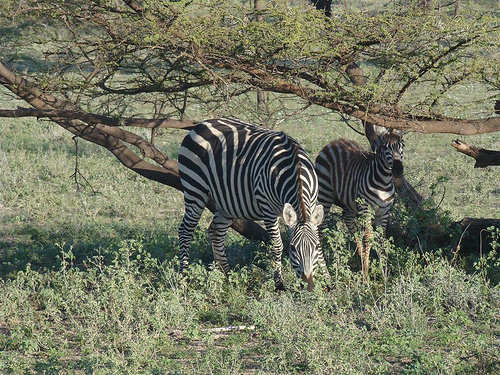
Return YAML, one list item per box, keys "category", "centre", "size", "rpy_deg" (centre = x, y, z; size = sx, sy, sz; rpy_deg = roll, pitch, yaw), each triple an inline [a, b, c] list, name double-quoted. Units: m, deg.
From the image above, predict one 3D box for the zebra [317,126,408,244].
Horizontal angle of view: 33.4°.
- category: "zebra"
  centre: [2.111, -0.008, 15.136]
  size: [0.930, 2.358, 2.907]
  rpy_deg: [-6, 9, -20]
